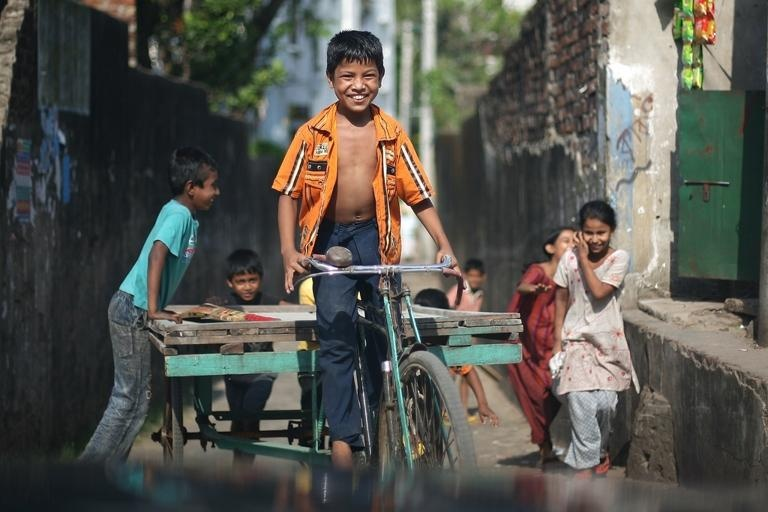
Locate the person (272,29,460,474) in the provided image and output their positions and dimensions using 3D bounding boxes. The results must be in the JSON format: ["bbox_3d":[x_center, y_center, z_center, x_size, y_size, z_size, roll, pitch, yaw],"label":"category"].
[{"bbox_3d":[-0.258,-0.075,11.536,1.323,3.514,0.652,2,-6,-6],"label":"person"}]

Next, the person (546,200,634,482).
[{"bbox_3d":[1.832,0.726,12.587,0.749,2.351,0.521,-1,-7,22],"label":"person"}]

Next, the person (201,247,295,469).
[{"bbox_3d":[-1.185,0.876,12.695,0.741,1.811,0.784,6,24,19],"label":"person"}]
